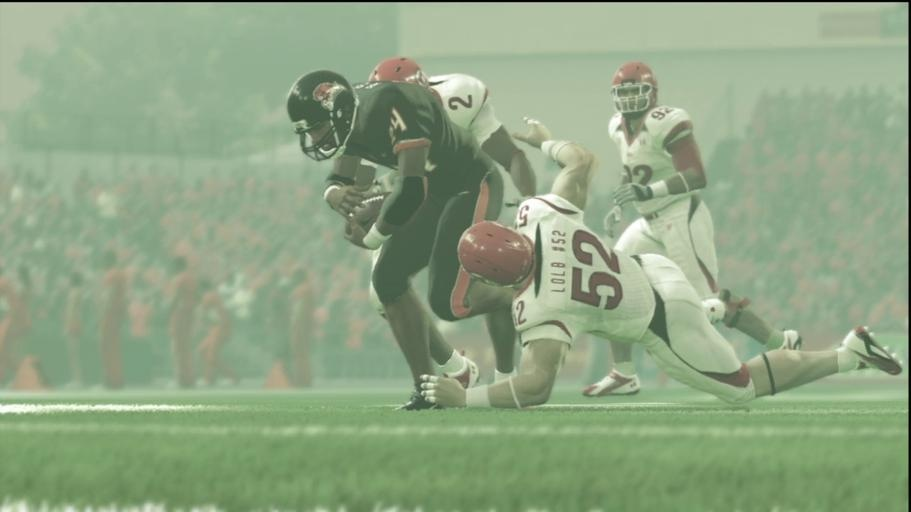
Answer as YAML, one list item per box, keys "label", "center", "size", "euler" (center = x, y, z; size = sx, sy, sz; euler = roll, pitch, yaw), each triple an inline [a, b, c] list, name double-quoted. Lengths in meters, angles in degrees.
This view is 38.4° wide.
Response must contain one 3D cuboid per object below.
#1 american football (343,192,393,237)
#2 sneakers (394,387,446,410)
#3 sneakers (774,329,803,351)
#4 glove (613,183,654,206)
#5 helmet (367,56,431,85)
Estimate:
- label: "american football"
  center: [-1.038, -0.524, 15.731]
  size: [0.345, 0.624, 0.241]
  euler: [40, -11, 4]
- label: "sneakers"
  center: [-0.426, 1.716, 15.603]
  size: [0.635, 0.246, 0.208]
  euler: [4, -8, -2]
- label: "sneakers"
  center: [4.226, 1.079, 16.676]
  size: [0.223, 0.258, 0.642]
  euler: [-5, -20, 18]
- label: "glove"
  center: [2.253, -0.797, 16.740]
  size: [0.629, 0.310, 0.311]
  euler: [-1, 38, 10]
- label: "helmet"
  center: [-0.672, -2.260, 15.951]
  size: [0.589, 0.287, 0.363]
  euler: [0, 25, -1]
